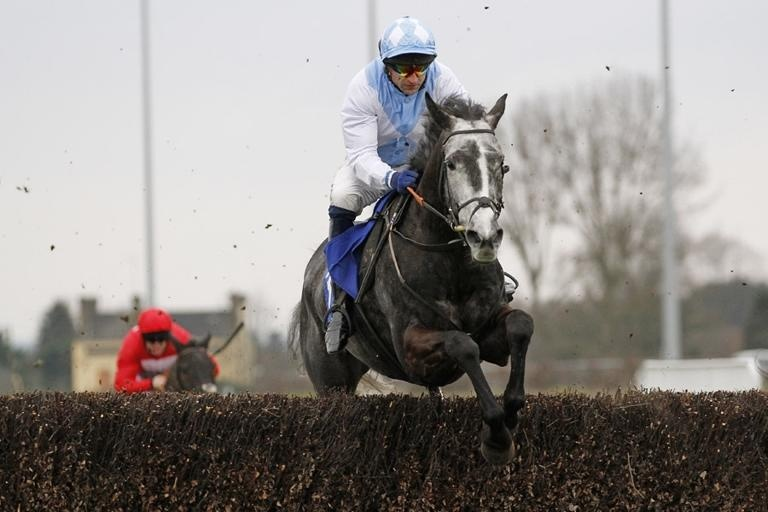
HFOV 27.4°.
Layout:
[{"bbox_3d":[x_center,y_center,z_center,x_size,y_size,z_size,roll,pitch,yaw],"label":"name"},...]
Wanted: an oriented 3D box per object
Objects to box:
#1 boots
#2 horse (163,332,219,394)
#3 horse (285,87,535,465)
[{"bbox_3d":[-0.538,0.511,17.670,0.307,0.439,1.569,5,28,-14],"label":"boots"},{"bbox_3d":[-2.326,1.339,19.390,0.303,0.815,1.223,2,-24,-15],"label":"horse"},{"bbox_3d":[0.624,0.236,16.903,1.948,3.913,0.868,0,4,43],"label":"horse"}]
